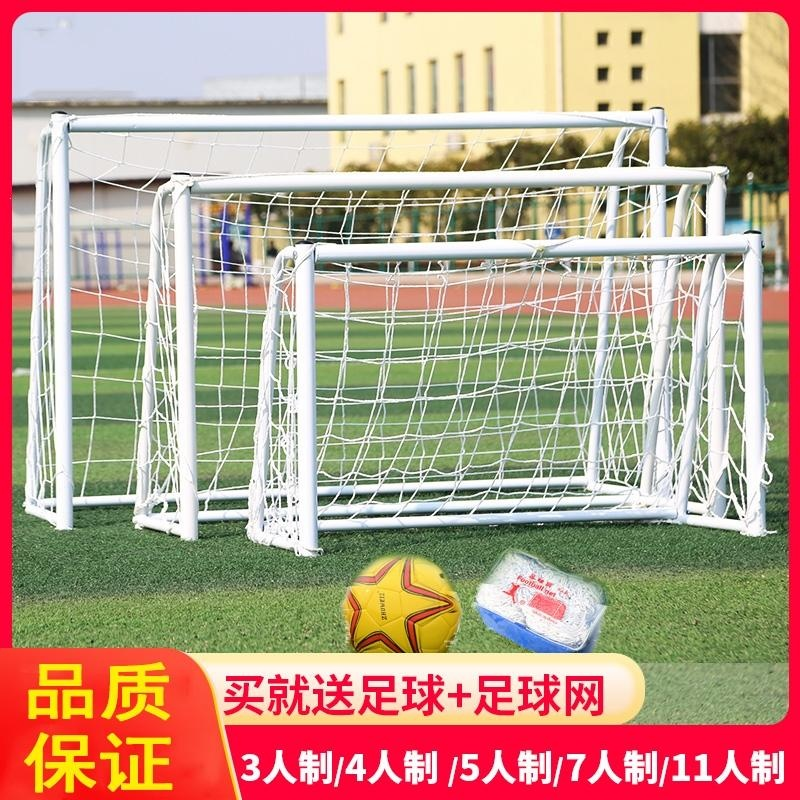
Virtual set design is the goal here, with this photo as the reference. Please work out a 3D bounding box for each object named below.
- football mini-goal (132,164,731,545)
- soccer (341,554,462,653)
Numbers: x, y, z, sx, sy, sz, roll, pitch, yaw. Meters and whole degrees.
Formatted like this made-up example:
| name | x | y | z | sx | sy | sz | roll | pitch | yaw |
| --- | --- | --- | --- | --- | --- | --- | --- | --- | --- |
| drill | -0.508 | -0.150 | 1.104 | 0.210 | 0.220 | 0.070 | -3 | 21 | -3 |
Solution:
| name | x | y | z | sx | sy | sz | roll | pitch | yaw |
| --- | --- | --- | --- | --- | --- | --- | --- | --- | --- |
| football mini-goal | 0.132 | -0.199 | 5.552 | 2.400 | 1.487 | 1.036 | -1 | 5 | -13 |
| soccer | 0.002 | 0.629 | 4.127 | 0.286 | 0.290 | 0.281 | -13 | 27 | 0 |
